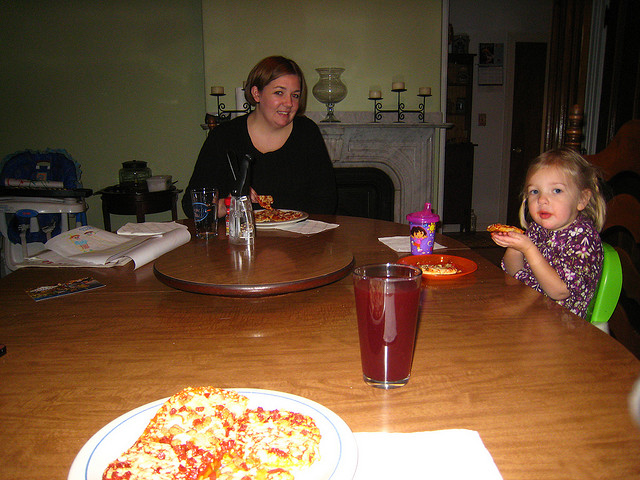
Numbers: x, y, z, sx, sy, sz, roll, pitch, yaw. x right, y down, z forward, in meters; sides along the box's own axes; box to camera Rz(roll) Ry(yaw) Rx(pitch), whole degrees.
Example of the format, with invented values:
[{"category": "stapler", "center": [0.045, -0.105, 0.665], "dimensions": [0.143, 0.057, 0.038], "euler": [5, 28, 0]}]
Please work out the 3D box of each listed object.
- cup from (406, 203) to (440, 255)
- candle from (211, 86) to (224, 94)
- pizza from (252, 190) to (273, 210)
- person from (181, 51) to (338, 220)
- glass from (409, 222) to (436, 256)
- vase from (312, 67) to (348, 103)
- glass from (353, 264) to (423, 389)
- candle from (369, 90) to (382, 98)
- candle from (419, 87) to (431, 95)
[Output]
[{"category": "cup", "center": [0.296, -0.028, 1.511], "dimensions": [0.142, 0.180, 0.133], "euler": [-1, 6, 0]}, {"category": "candle", "center": [-0.765, -1.122, 3.755], "dimensions": [0.075, 0.040, 0.072], "euler": [-12, 21, -37]}, {"category": "pizza", "center": [-0.238, -0.165, 2.077], "dimensions": [0.091, 0.026, 0.059], "euler": [17, 5, 20]}, {"category": "person", "center": [-0.276, -0.498, 2.537], "dimensions": [0.867, 0.786, 0.504], "euler": [-15, 30, -33]}, {"category": "glass", "center": [0.302, -0.013, 1.453], "dimensions": [0.104, 0.111, 0.098], "euler": [0, 5, -1]}, {"category": "vase", "center": [0.088, -1.192, 3.915], "dimensions": [0.274, 0.294, 0.272], "euler": [2, 26, 9]}, {"category": "glass", "center": [0.108, 0.143, 0.815], "dimensions": [0.104, 0.202, 0.083], "euler": [3, 19, 17]}, {"category": "candle", "center": [0.434, -1.139, 3.905], "dimensions": [0.070, 0.038, 0.067], "euler": [1, 5, 3]}, {"category": "candle", "center": [0.821, -1.158, 3.886], "dimensions": [0.085, 0.048, 0.082], "euler": [-4, 7, -34]}]
